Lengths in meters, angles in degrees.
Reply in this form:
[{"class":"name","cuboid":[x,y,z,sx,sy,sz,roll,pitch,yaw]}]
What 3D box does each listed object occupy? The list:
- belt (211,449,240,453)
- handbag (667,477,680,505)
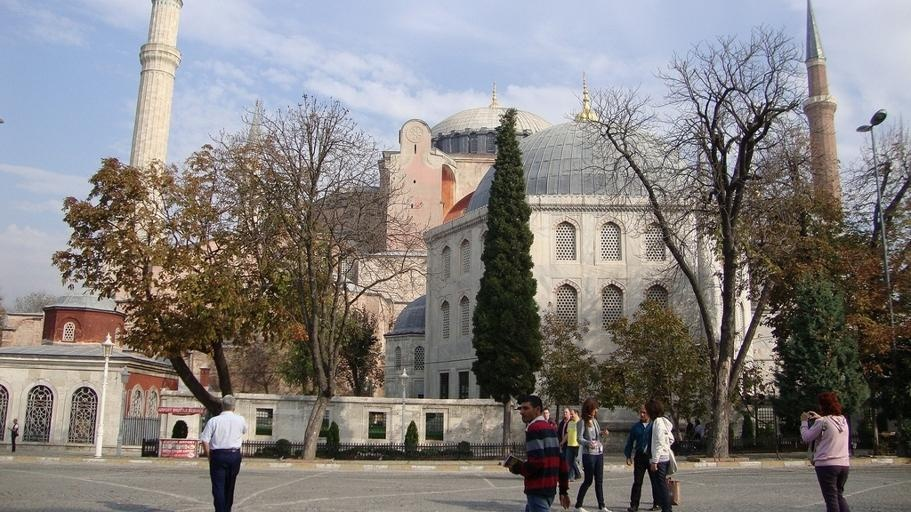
[{"class":"belt","cuboid":[-9.653,8.219,46.821,1.127,0.192,0.289,3,-11,-17]},{"class":"handbag","cuboid":[9.385,10.224,48.009,0.472,1.139,1.108,0,-18,-2]}]
